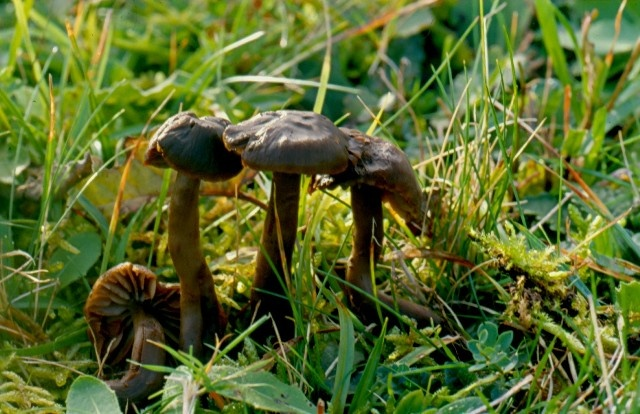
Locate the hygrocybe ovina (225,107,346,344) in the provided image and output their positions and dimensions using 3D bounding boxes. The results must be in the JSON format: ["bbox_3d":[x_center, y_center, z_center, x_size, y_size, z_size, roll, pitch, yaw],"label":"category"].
[{"bbox_3d":[-0.132,0.036,2.141,0.358,0.652,0.403,28,43,30],"label":"hygrocybe ovina"}]
